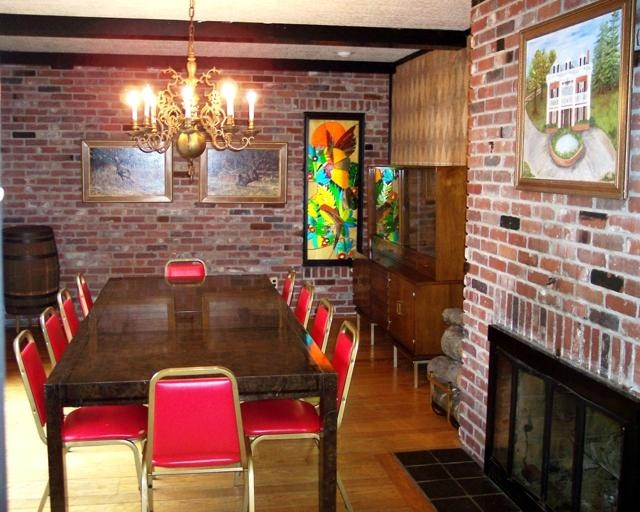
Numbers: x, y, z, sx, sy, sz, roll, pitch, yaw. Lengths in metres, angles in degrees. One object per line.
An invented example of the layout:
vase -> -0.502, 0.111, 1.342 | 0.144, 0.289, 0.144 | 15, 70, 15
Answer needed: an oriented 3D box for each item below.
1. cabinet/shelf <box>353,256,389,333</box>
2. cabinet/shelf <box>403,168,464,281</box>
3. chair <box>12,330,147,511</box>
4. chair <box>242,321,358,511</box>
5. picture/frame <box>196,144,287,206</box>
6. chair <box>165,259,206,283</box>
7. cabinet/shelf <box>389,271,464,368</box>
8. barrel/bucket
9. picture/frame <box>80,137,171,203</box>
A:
cabinet/shelf -> 0.405, 0.373, 5.257 | 0.185, 0.613, 1.101 | -10, -19, 19
cabinet/shelf -> 0.895, -0.242, 4.216 | 0.278, 0.789, 0.820 | -2, 9, -9
chair -> -1.077, 0.820, 2.529 | 0.537, 0.979, 0.615 | -3, 11, -18
chair -> -0.101, 0.783, 2.677 | 0.562, 0.993, 0.683 | -1, 11, -8
picture/frame -> -0.887, -0.883, 5.893 | 0.751, 0.524, 0.036 | 0, 6, -5
chair -> -1.074, 0.178, 4.376 | 0.297, 0.282, 0.207 | 0, 9, -6
cabinet/shelf -> 0.881, 0.502, 4.538 | 0.478, 0.668, 0.814 | -1, 2, -8
barrel/bucket -> -2.804, 0.138, 5.305 | 0.477, 0.805, 0.289 | -5, 12, -29
picture/frame -> -2.096, -0.921, 5.763 | 0.696, 0.488, 0.030 | -1, 3, -8
